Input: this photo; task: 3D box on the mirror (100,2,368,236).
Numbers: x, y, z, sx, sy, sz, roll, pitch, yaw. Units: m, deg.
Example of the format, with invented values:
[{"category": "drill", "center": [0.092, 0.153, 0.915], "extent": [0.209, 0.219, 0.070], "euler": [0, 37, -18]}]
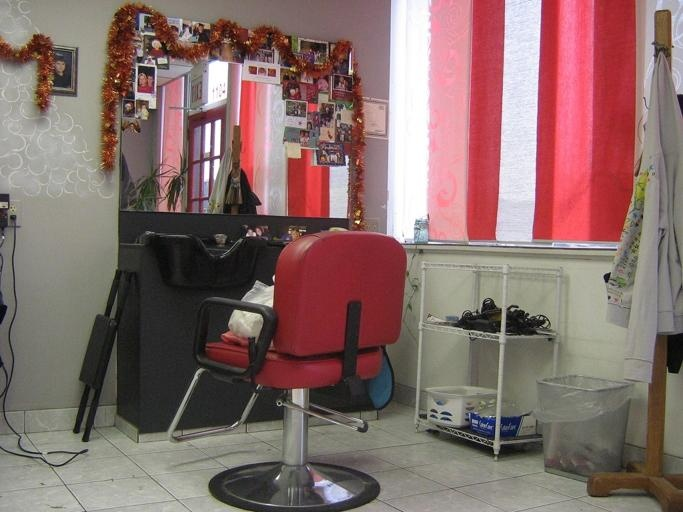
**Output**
[{"category": "mirror", "center": [-0.803, -0.945, 3.799], "extent": [1.697, 1.284, 0.137], "euler": [3, 7, -28]}]

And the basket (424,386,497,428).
[{"category": "basket", "center": [0.725, 0.878, 3.399], "extent": [0.308, 0.137, 0.236], "euler": [-1, 2, -43]}]

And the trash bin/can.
[{"category": "trash bin/can", "center": [1.271, 0.806, 3.046], "extent": [0.503, 0.650, 0.457], "euler": [3, 4, 44]}]

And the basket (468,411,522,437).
[{"category": "basket", "center": [0.897, 0.956, 3.187], "extent": [0.192, 0.090, 0.146], "euler": [2, -2, -32]}]

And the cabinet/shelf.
[{"category": "cabinet/shelf", "center": [0.923, 0.633, 3.359], "extent": [0.648, 1.435, 0.994], "euler": [2, 2, -32]}]
